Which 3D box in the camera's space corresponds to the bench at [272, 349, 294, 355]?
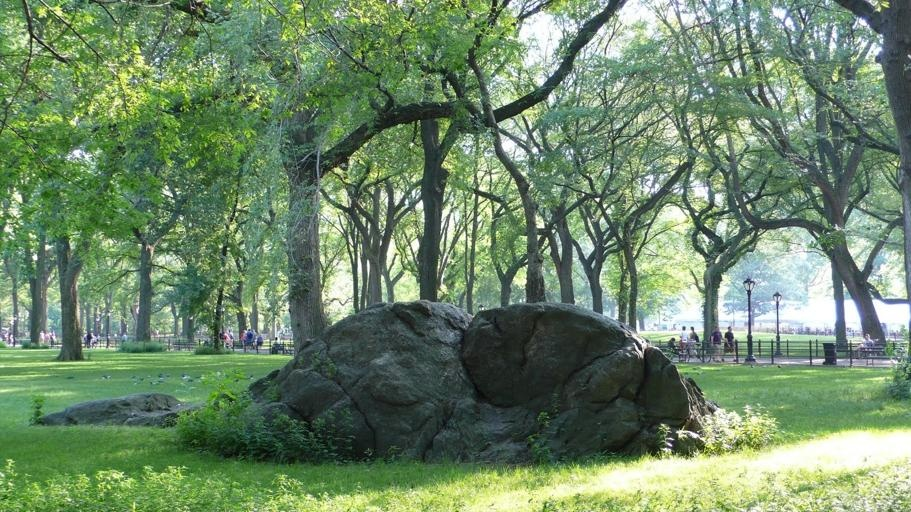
[{"bbox_3d":[-12.143,6.901,73.019,0.940,0.216,0.955,-3,-5,38],"label":"bench"}]
